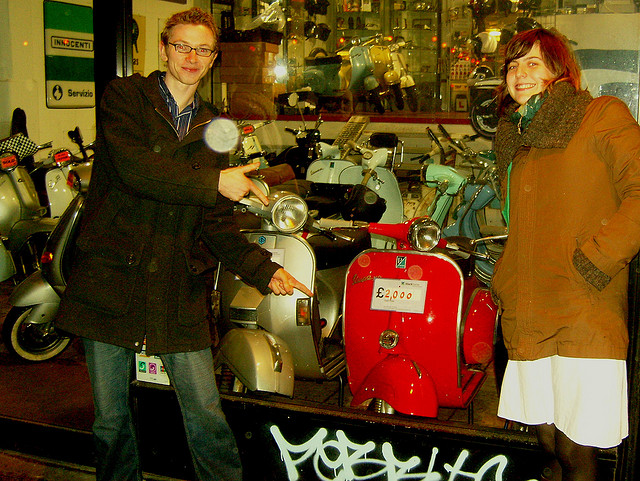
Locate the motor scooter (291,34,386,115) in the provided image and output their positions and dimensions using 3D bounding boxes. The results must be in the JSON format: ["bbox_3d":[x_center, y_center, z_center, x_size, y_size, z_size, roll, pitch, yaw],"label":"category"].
[{"bbox_3d":[0.297,-2.269,6.830,1.308,0.885,0.549,11,24,32],"label":"motor scooter"}]

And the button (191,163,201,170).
[{"bbox_3d":[-0.453,-0.269,1.893,0.028,0.036,0.011,-7,-15,13],"label":"button"}]

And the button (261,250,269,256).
[{"bbox_3d":[-0.223,0.054,2.089,0.028,0.017,0.014,3,3,44],"label":"button"}]

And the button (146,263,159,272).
[{"bbox_3d":[-0.624,0.100,1.912,0.041,0.029,0.009,1,9,-6],"label":"button"}]

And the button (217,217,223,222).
[{"bbox_3d":[-0.403,-0.082,2.070,0.013,0.016,0.026,0,11,-1],"label":"button"}]

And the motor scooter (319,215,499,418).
[{"bbox_3d":[0.597,0.416,3.000,0.757,1.026,1.745,1,2,27],"label":"motor scooter"}]

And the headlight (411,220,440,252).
[{"bbox_3d":[0.494,-0.022,2.463,0.119,0.140,0.139,2,-2,0],"label":"headlight"}]

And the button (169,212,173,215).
[{"bbox_3d":[-0.562,-0.101,1.938,0.009,0.011,0.018,0,11,-1],"label":"button"}]

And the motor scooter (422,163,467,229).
[{"bbox_3d":[1.061,-0.391,4.448,0.367,0.530,0.370,2,12,12],"label":"motor scooter"}]

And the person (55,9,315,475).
[{"bbox_3d":[-0.560,0.103,2.090,0.815,1.981,0.492,2,9,-5],"label":"person"}]

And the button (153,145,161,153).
[{"bbox_3d":[-0.599,-0.335,1.893,0.031,0.032,0.007,1,-6,-6],"label":"button"}]

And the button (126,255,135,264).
[{"bbox_3d":[-0.691,0.071,1.876,0.029,0.029,0.007,4,-8,-17],"label":"button"}]

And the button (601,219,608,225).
[{"bbox_3d":[0.945,-0.059,1.702,0.016,0.017,0.020,0,10,-12],"label":"button"}]

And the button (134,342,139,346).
[{"bbox_3d":[-0.682,0.382,1.912,0.015,0.015,0.004,0,5,6],"label":"button"}]

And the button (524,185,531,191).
[{"bbox_3d":[0.741,-0.185,1.834,0.019,0.020,0.005,1,-10,14],"label":"button"}]

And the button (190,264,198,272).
[{"bbox_3d":[-0.480,0.105,1.959,0.014,0.017,0.027,-7,4,-14],"label":"button"}]

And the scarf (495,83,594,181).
[{"bbox_3d":[0.846,-0.436,1.916,0.436,0.254,0.236,-29,8,-24],"label":"scarf"}]
